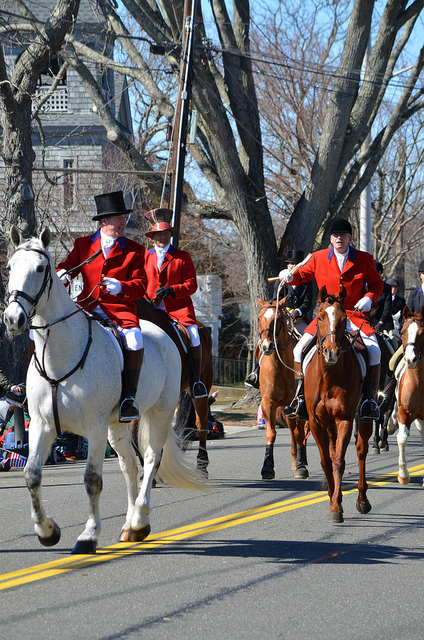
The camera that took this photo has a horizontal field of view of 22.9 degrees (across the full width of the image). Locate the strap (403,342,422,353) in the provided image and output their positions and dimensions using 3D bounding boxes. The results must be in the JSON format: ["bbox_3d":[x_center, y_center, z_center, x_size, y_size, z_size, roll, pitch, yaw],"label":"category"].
[{"bbox_3d":[2.367,0.325,12.248,0.149,0.123,0.033,-1,-1,12],"label":"strap"}]

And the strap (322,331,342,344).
[{"bbox_3d":[1.187,0.162,10.050,0.109,0.113,0.027,44,16,-8],"label":"strap"}]

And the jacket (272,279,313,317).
[{"bbox_3d":[1.231,-0.325,15.397,0.522,0.596,0.476,-1,3,19],"label":"jacket"}]

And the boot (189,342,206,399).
[{"bbox_3d":[-0.178,0.578,12.511,0.185,0.612,0.241,-10,17,-15],"label":"boot"}]

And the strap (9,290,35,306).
[{"bbox_3d":[-1.480,-0.176,8.300,0.099,0.109,0.225,3,2,42],"label":"strap"}]

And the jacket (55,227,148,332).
[{"bbox_3d":[-1.060,-0.330,10.016,0.899,0.990,0.662,6,9,0],"label":"jacket"}]

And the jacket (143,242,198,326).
[{"bbox_3d":[-0.473,-0.433,12.808,0.584,1.024,0.409,0,3,-7],"label":"jacket"}]

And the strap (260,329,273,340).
[{"bbox_3d":[0.693,0.180,12.927,0.172,0.135,0.038,-2,-1,12],"label":"strap"}]

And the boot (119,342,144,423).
[{"bbox_3d":[-0.719,0.532,9.544,0.257,0.647,0.274,11,21,19],"label":"boot"}]

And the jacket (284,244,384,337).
[{"bbox_3d":[1.473,-0.297,11.554,1.409,1.301,0.999,0,5,14],"label":"jacket"}]

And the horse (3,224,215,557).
[{"bbox_3d":[-1.027,0.615,9.392,1.057,1.855,2.876,3,1,13],"label":"horse"}]

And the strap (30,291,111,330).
[{"bbox_3d":[-1.151,-0.078,8.901,0.792,0.097,0.080,-21,2,-20],"label":"strap"}]

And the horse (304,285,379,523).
[{"bbox_3d":[1.372,1.005,11.148,0.806,2.154,2.973,-2,-14,12],"label":"horse"}]
